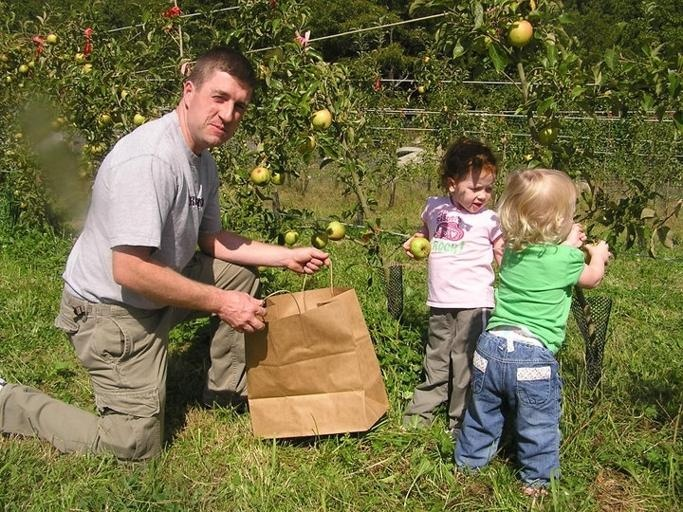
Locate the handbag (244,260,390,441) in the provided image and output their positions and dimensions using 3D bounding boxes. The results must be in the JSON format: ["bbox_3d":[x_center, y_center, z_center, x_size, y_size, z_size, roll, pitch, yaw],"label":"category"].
[{"bbox_3d":[-0.158,0.586,3.954,0.710,0.990,0.347,-11,22,13],"label":"handbag"}]

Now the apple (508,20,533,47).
[{"bbox_3d":[0.958,-1.184,3.693,0.130,0.130,0.124,47,20,2],"label":"apple"}]

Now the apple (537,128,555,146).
[{"bbox_3d":[1.163,-0.677,3.852,0.105,0.097,0.091,4,8,13],"label":"apple"}]

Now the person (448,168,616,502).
[{"bbox_3d":[0.957,0.385,3.661,0.566,1.681,0.337,6,9,26],"label":"person"}]

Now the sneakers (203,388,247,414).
[{"bbox_3d":[-0.725,0.893,4.206,0.271,0.177,0.231,6,-9,-5],"label":"sneakers"}]

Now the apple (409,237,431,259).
[{"bbox_3d":[0.451,-0.064,4.092,0.114,0.128,0.143,-7,20,-14],"label":"apple"}]
